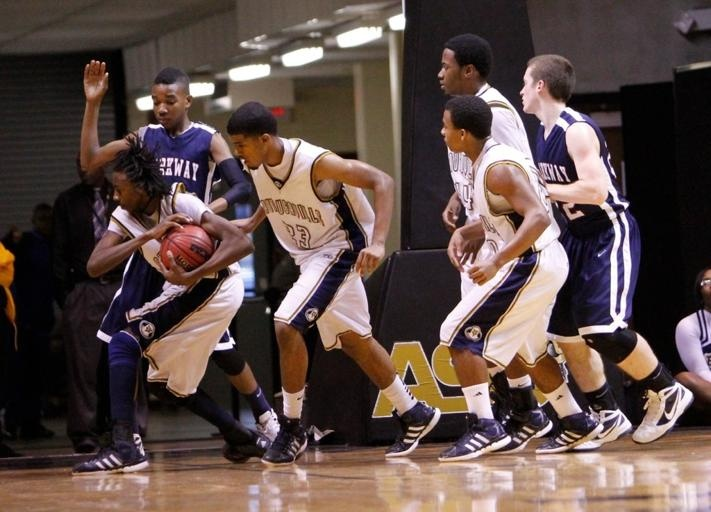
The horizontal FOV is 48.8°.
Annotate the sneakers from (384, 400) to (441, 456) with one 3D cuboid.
[{"bbox_3d":[0.330,1.032,4.704,0.172,0.360,0.113,37,3,-22],"label":"sneakers"}]

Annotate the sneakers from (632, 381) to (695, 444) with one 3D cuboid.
[{"bbox_3d":[1.828,0.918,4.595,0.215,0.439,0.145,36,5,-36],"label":"sneakers"}]

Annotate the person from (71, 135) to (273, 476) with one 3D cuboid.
[{"bbox_3d":[-1.031,0.269,4.361,0.973,1.835,0.547,-2,1,-9],"label":"person"}]

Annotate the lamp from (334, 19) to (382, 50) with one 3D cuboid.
[{"bbox_3d":[0.080,-2.549,8.953,0.379,0.109,0.429,-16,4,-13],"label":"lamp"}]

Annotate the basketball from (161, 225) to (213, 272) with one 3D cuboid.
[{"bbox_3d":[-0.887,-0.068,4.166,0.227,0.266,0.245,7,8,43],"label":"basketball"}]

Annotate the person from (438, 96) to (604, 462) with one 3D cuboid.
[{"bbox_3d":[0.831,0.130,4.210,0.777,1.551,0.707,-2,1,-31],"label":"person"}]

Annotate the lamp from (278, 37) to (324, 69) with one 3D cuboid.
[{"bbox_3d":[-0.690,-2.537,9.762,0.339,0.298,0.697,-2,0,-29],"label":"lamp"}]
